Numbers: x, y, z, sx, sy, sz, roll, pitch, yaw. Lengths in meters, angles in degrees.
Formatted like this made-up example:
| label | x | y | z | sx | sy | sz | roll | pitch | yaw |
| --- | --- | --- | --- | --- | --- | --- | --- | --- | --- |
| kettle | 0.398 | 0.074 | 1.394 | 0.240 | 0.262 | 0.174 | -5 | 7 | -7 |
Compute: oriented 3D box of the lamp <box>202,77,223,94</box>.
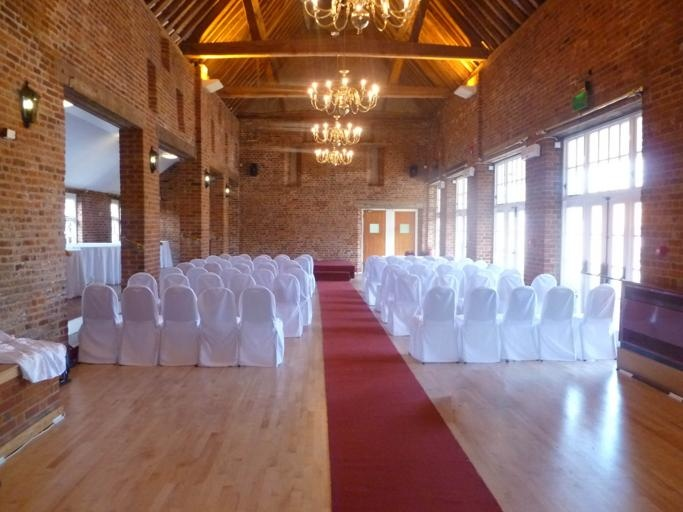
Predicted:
| label | x | y | z | sx | sy | sz | roll | pitch | yaw |
| --- | --- | --- | --- | --- | --- | --- | --- | --- | --- |
| lamp | -2.840 | -3.822 | 10.394 | 0.403 | 0.196 | 0.426 | -4 | 10 | -11 |

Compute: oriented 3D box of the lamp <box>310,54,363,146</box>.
| label | x | y | z | sx | sy | sz | roll | pitch | yaw |
| --- | --- | --- | --- | --- | --- | --- | --- | --- | --- |
| lamp | 0.066 | -3.013 | 8.788 | 1.219 | 0.889 | 1.213 | 0 | -1 | 5 |

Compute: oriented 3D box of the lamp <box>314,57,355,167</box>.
| label | x | y | z | sx | sy | sz | roll | pitch | yaw |
| --- | --- | --- | --- | --- | --- | --- | --- | --- | --- |
| lamp | 0.030 | -3.374 | 10.896 | 1.331 | 1.814 | 1.482 | 6 | -10 | 7 |

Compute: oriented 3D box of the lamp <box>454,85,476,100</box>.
| label | x | y | z | sx | sy | sz | roll | pitch | yaw |
| --- | --- | --- | --- | --- | --- | --- | --- | --- | --- |
| lamp | 2.864 | -3.840 | 10.836 | 0.335 | 0.100 | 0.316 | 7 | -15 | -18 |

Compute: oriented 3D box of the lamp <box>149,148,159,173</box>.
| label | x | y | z | sx | sy | sz | roll | pitch | yaw |
| --- | --- | --- | --- | --- | --- | --- | --- | --- | --- |
| lamp | -3.283 | -1.691 | 8.180 | 0.069 | 0.425 | 0.219 | 4 | 13 | 19 |

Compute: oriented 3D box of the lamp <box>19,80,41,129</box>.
| label | x | y | z | sx | sy | sz | roll | pitch | yaw |
| --- | --- | --- | --- | --- | --- | --- | --- | --- | --- |
| lamp | -3.535 | -1.745 | 5.354 | 0.116 | 0.506 | 0.238 | 1 | 12 | 6 |
